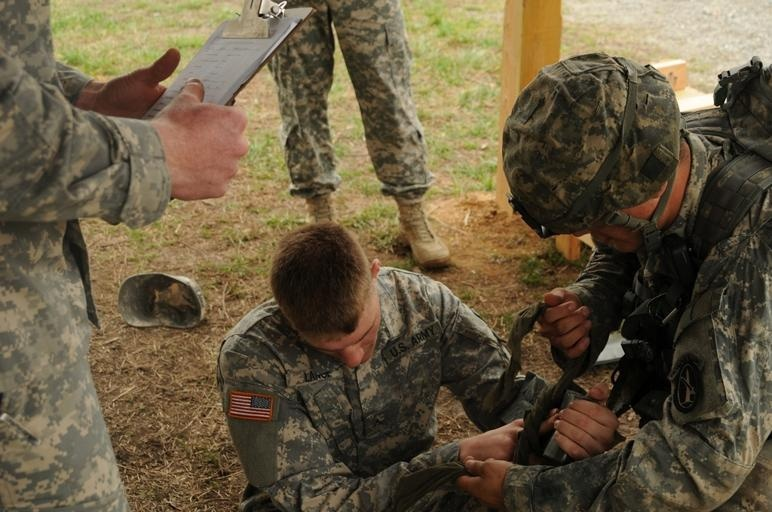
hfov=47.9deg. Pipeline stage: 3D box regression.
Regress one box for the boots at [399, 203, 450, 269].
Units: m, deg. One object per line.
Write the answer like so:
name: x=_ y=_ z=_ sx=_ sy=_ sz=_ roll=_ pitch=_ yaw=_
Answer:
boots: x=0.235 y=-0.109 z=5.726 sx=0.149 sy=0.270 sz=0.406 roll=-30 pitch=53 yaw=-6
